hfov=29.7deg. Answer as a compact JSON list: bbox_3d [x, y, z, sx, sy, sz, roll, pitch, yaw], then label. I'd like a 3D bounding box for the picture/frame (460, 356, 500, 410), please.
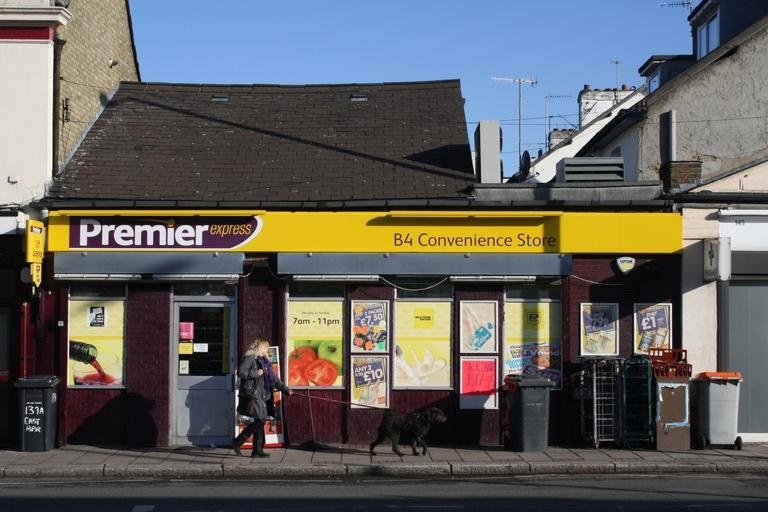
[{"bbox_3d":[2.219,3.033,33.785,1.316,1.483,0.109,1,-8,-4],"label":"picture/frame"}]

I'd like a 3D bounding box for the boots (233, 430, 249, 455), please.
[{"bbox_3d":[-3.217,4.234,32.707,0.388,0.552,0.394,1,-9,-11],"label":"boots"}]

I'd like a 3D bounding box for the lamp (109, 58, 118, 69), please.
[{"bbox_3d":[-6.997,-4.974,37.383,0.197,0.236,0.123,-6,-53,29],"label":"lamp"}]

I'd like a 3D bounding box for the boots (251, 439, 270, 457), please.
[{"bbox_3d":[-2.809,4.416,32.712,0.487,0.432,0.242,0,-2,-10],"label":"boots"}]

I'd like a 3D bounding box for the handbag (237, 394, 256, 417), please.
[{"bbox_3d":[-3.090,3.403,32.541,0.479,0.458,0.444,-1,-2,11],"label":"handbag"}]

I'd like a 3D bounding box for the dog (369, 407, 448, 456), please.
[{"bbox_3d":[0.579,4.014,32.785,1.738,0.994,0.515,2,-3,-18],"label":"dog"}]
